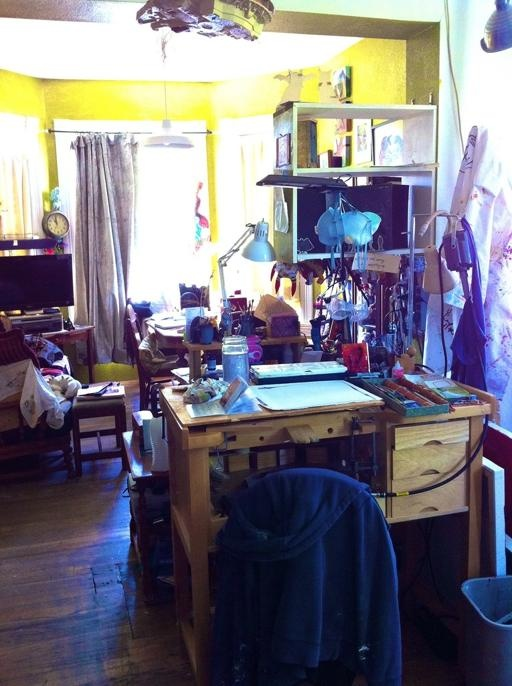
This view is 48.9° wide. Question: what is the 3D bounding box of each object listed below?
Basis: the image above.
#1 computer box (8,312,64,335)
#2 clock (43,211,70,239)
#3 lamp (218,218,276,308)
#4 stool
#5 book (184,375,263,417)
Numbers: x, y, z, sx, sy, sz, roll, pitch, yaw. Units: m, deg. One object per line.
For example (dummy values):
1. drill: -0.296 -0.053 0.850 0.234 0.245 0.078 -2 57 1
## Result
1. computer box: -1.868 -0.169 4.772 0.402 0.168 0.234 -6 9 -17
2. clock: -1.866 -1.092 5.198 0.057 0.214 0.216 -2 40 34
3. lamp: -0.046 -0.314 2.303 0.196 0.346 0.396 -5 9 -14
4. stool: -1.093 0.574 3.895 0.294 0.492 0.592 -3 8 -17
5. book: -0.099 0.143 1.597 0.205 0.074 0.225 -5 9 -8
